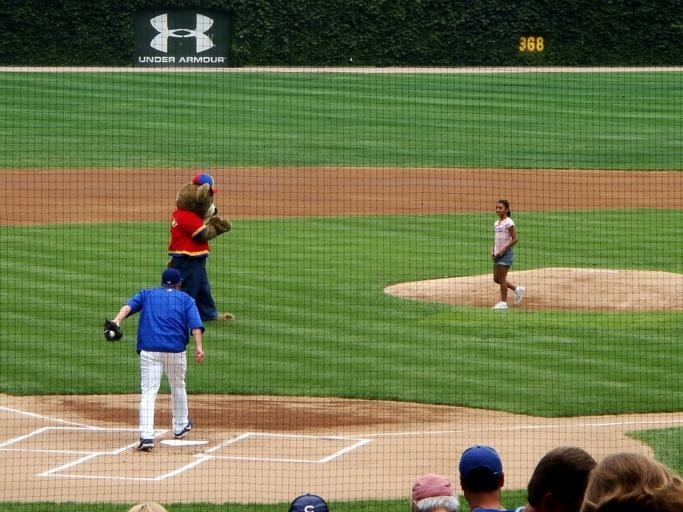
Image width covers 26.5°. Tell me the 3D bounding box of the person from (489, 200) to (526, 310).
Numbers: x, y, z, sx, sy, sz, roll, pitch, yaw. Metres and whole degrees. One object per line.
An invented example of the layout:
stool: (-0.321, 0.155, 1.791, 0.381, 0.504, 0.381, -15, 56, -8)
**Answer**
person: (3.444, -0.038, 30.322, 0.649, 1.671, 1.144, -2, -1, 6)

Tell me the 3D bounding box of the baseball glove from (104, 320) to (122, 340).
baseball glove: (-4.073, 1.312, 25.661, 0.319, 0.343, 0.186, -3, 12, -3)

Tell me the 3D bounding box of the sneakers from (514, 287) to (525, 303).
sneakers: (3.729, 0.824, 30.604, 0.224, 0.442, 0.150, 0, 43, -1)

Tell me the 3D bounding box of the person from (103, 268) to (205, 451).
person: (-3.257, 1.851, 25.936, 1.522, 3.287, 0.782, -1, -1, -5)
